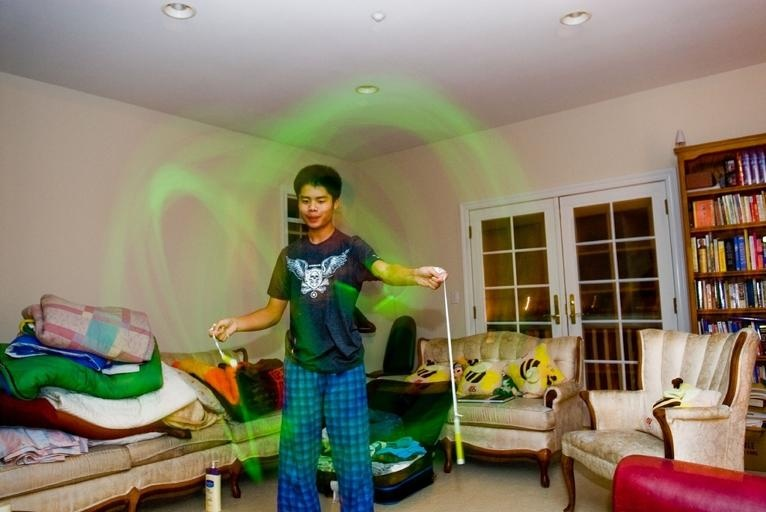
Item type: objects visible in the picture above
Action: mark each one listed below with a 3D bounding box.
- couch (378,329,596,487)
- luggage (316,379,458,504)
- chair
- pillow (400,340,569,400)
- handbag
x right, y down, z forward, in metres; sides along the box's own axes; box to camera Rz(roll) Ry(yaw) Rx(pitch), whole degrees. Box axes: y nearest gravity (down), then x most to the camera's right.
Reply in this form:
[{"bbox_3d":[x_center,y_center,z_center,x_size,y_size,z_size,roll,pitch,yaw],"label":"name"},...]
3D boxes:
[{"bbox_3d":[1.045,1.268,4.948,1.508,1.057,0.826,-6,1,31],"label":"couch"},{"bbox_3d":[0.085,1.500,4.504,0.667,0.546,1.018,-7,-13,32],"label":"luggage"},{"bbox_3d":[1.900,1.152,3.721,1.022,1.296,0.799,-1,-5,-14],"label":"chair"},{"bbox_3d":[0.970,1.105,4.981,1.146,0.372,0.881,-2,-6,10],"label":"pillow"},{"bbox_3d":[-1.316,1.090,4.825,0.743,0.293,0.767,13,4,-20],"label":"handbag"}]
